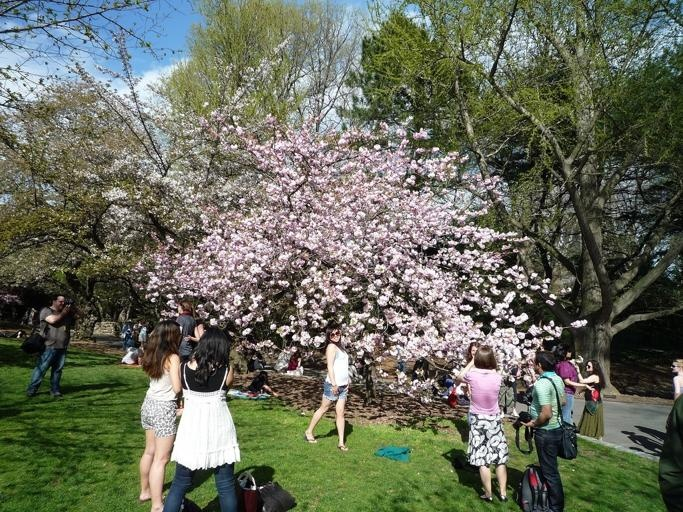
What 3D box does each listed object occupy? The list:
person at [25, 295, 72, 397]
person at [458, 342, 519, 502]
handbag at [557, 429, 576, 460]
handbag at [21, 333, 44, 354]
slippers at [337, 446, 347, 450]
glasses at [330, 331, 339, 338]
[{"bbox_3d":[-6.259,1.960,8.288,0.756,2.089,1.245,15,-18,-31],"label":"person"},{"bbox_3d":[2.224,2.604,5.990,0.630,2.273,0.841,-4,-18,33],"label":"person"},{"bbox_3d":[3.267,2.671,5.531,0.279,0.433,0.231,2,-15,13],"label":"handbag"},{"bbox_3d":[-6.374,1.810,7.909,0.355,0.378,0.265,14,-17,-31],"label":"handbag"},{"bbox_3d":[0.006,3.643,7.319,0.073,0.028,0.118,5,-11,-28],"label":"slippers"},{"bbox_3d":[-0.125,1.492,7.198,0.153,0.141,0.042,14,-17,-29],"label":"glasses"}]
